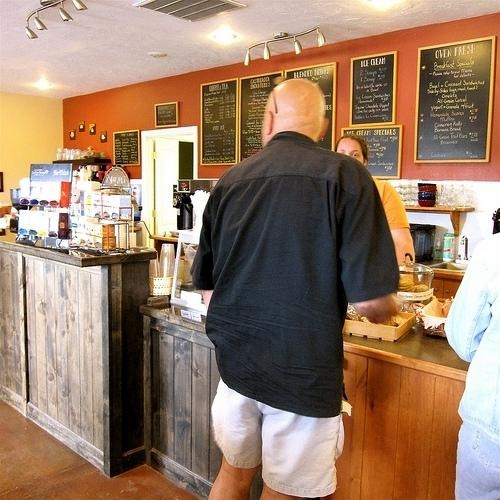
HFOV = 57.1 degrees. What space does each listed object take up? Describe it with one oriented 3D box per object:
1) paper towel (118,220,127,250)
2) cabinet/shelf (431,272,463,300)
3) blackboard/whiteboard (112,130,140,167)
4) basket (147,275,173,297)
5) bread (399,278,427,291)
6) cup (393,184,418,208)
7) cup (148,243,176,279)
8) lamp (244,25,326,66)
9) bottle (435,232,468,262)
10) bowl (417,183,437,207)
[{"bbox_3d":[-0.688,-0.080,2.461,0.072,0.146,0.023,-1,5,-20],"label":"paper towel"},{"bbox_3d":[1.464,0.232,3.463,0.172,0.285,0.269,2,-1,-36],"label":"cabinet/shelf"},{"bbox_3d":[-1.754,-1.443,6.531,0.112,0.476,0.601,-4,7,-44],"label":"blackboard/whiteboard"},{"bbox_3d":[-0.489,0.187,2.471,0.101,0.082,0.102,3,5,41],"label":"basket"},{"bbox_3d":[0.657,0.147,1.843,0.116,0.054,0.095,3,0,1],"label":"bread"},{"bbox_3d":[1.427,-0.473,4.169,0.202,0.349,0.211,0,0,0],"label":"cup"},{"bbox_3d":[-0.479,0.065,2.510,0.131,0.201,0.267,0,5,-10],"label":"cup"},{"bbox_3d":[0.286,-1.806,4.060,0.738,0.195,0.074,-5,8,23],"label":"lamp"},{"bbox_3d":[1.701,0.015,3.879,0.213,0.406,0.234,5,-8,1],"label":"bottle"},{"bbox_3d":[1.472,-0.442,3.800,0.166,0.209,0.173,1,-2,0],"label":"bowl"}]
